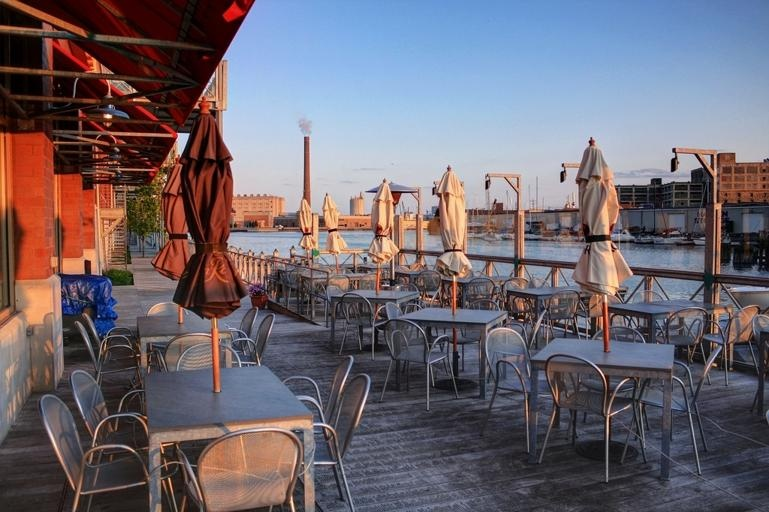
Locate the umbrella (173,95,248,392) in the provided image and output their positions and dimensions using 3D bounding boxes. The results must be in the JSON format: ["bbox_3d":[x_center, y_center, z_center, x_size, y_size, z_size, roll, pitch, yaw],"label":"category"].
[{"bbox_3d":[-1.760,-0.088,6.929,0.676,2.822,0.835,-4,14,-16],"label":"umbrella"}]
